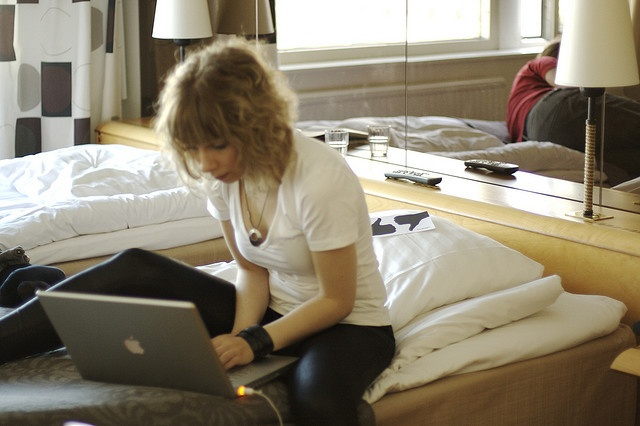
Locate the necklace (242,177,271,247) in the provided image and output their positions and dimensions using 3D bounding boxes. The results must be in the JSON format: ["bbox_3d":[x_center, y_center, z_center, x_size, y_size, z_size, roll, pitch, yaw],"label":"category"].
[{"bbox_3d":[-0.193,-0.003,1.667,0.079,0.222,0.009,15,-34,-24],"label":"necklace"}]

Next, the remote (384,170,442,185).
[{"bbox_3d":[0.400,-0.156,2.405,0.182,0.044,0.092,11,14,38],"label":"remote"}]

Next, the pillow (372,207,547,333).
[{"bbox_3d":[0.399,0.146,1.964,0.350,0.110,0.408,-17,20,-8],"label":"pillow"}]

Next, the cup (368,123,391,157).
[{"bbox_3d":[0.289,-0.357,2.780,0.142,0.160,0.146,-2,10,0],"label":"cup"}]

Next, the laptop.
[{"bbox_3d":[-0.437,0.256,1.372,0.357,0.231,0.349,2,9,30],"label":"laptop"}]
